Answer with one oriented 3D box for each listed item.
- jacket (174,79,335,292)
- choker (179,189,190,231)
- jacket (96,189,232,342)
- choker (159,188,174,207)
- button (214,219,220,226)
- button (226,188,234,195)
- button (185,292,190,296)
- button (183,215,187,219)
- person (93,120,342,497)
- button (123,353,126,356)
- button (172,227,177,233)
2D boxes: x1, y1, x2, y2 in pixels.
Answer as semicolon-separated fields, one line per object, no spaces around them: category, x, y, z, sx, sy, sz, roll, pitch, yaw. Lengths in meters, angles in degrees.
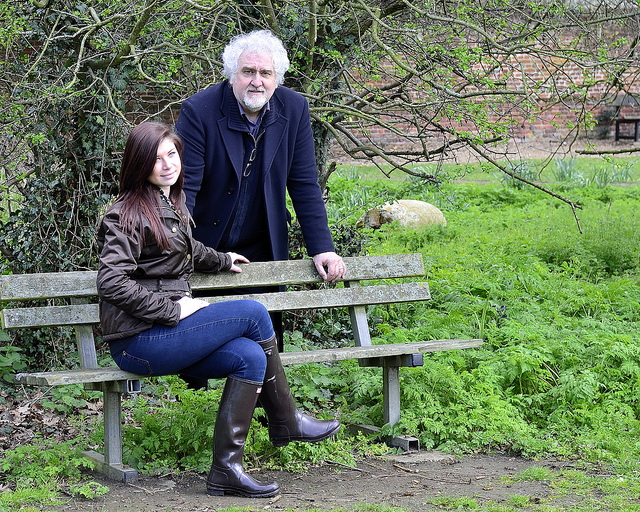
jacket;-0.370;-0.410;3.938;0.993;1.130;0.611;0;0;17
choker;-0.728;-0.246;3.530;0.063;0.212;0.046;0;3;38
jacket;-0.807;0.045;3.412;0.460;0.661;0.871;1;4;22
choker;-0.814;-0.308;3.457;0.019;0.076;0.084;-30;-24;12
button;-0.599;-0.199;3.828;0.043;0.040;0.010;-1;-1;-1
button;-0.517;-0.374;3.788;0.039;0.036;0.009;2;0;-3
button;-0.701;0.197;3.477;0.021;0.019;0.005;6;-14;-45
button;-0.724;-0.210;3.516;0.016;0.019;0.005;5;1;39
person;-0.604;0.274;3.422;1.050;1.892;0.471;2;10;-3
button;-0.991;0.497;3.340;0.018;0.015;0.004;5;10;17
button;-0.757;-0.137;3.415;0.030;0.028;0.007;1;-4;-29
